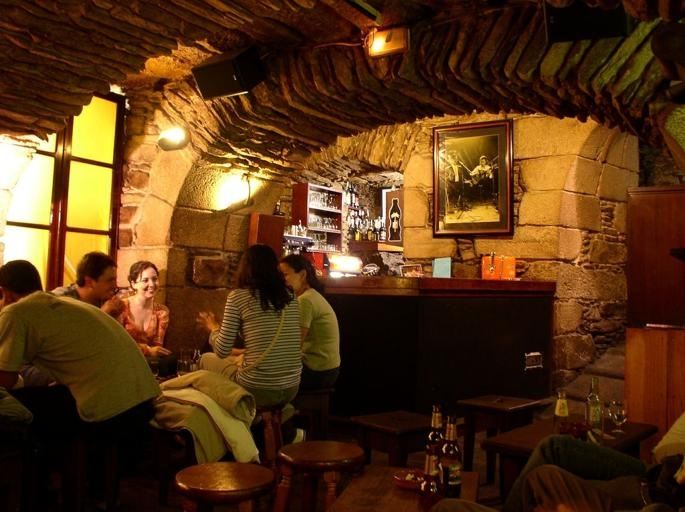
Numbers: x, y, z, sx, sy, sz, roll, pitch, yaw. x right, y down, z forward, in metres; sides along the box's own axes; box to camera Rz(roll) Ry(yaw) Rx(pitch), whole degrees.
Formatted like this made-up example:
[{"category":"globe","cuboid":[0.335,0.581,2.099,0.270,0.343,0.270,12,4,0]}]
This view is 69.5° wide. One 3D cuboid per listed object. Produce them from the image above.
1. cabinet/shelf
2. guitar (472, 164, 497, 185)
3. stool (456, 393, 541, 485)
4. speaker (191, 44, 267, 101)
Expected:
[{"category":"cabinet/shelf","cuboid":[-0.475,-0.689,8.919,0.427,1.260,1.447,-3,-5,28]},{"category":"guitar","cuboid":[1.920,-1.101,6.717,0.266,0.252,0.114,11,13,25]},{"category":"stool","cuboid":[1.270,1.382,4.044,0.670,0.690,0.673,-3,-7,36]},{"category":"speaker","cuboid":[-0.938,-1.479,4.018,0.537,0.388,0.298,0,-5,18]}]
